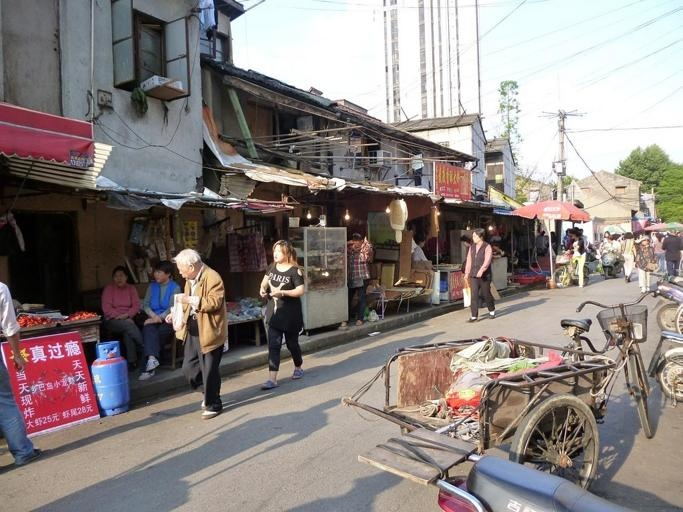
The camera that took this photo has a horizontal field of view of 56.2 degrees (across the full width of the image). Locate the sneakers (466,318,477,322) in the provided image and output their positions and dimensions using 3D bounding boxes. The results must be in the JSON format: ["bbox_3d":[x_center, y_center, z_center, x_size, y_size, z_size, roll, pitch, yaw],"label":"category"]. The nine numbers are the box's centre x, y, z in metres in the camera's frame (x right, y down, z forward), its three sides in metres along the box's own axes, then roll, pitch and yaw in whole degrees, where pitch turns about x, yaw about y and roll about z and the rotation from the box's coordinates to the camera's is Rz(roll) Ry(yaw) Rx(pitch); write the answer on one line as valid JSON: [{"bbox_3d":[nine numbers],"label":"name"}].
[{"bbox_3d":[2.918,1.428,14.312,0.212,0.088,0.087,-2,-3,38],"label":"sneakers"}]

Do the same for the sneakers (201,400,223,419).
[{"bbox_3d":[-1.831,2.131,9.099,0.294,0.241,0.284,-5,12,-13],"label":"sneakers"}]

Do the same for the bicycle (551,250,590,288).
[{"bbox_3d":[7.658,0.448,21.527,1.650,1.072,0.839,3,-6,-38],"label":"bicycle"}]

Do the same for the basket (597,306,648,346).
[{"bbox_3d":[3.573,0.838,8.146,0.571,0.464,0.499,-5,-12,10],"label":"basket"}]

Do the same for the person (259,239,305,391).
[{"bbox_3d":[-0.951,0.931,10.244,0.741,2.290,0.855,-4,11,-7],"label":"person"}]

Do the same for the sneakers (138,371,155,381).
[{"bbox_3d":[-3.185,1.955,10.463,0.206,0.088,0.272,-4,12,-8],"label":"sneakers"}]

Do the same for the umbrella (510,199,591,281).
[{"bbox_3d":[6.794,-0.484,20.678,2.251,2.711,2.404,2,2,-13],"label":"umbrella"}]

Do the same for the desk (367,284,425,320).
[{"bbox_3d":[1.261,1.053,16.056,0.739,0.400,1.248,4,12,39],"label":"desk"}]

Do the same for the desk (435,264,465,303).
[{"bbox_3d":[3.209,0.840,17.844,1.009,0.752,0.609,7,-4,-22],"label":"desk"}]

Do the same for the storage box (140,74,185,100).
[{"bbox_3d":[-3.492,-3.349,12.744,0.943,0.446,0.653,-8,13,-27],"label":"storage box"}]

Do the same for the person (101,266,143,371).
[{"bbox_3d":[-3.704,1.075,11.026,0.720,1.726,0.778,-10,14,-35],"label":"person"}]

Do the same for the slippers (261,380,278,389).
[{"bbox_3d":[-1.121,2.025,10.076,0.100,0.117,0.265,-13,-20,39],"label":"slippers"}]

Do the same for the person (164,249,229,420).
[{"bbox_3d":[-1.973,1.073,9.152,0.735,2.334,0.575,8,15,42],"label":"person"}]
